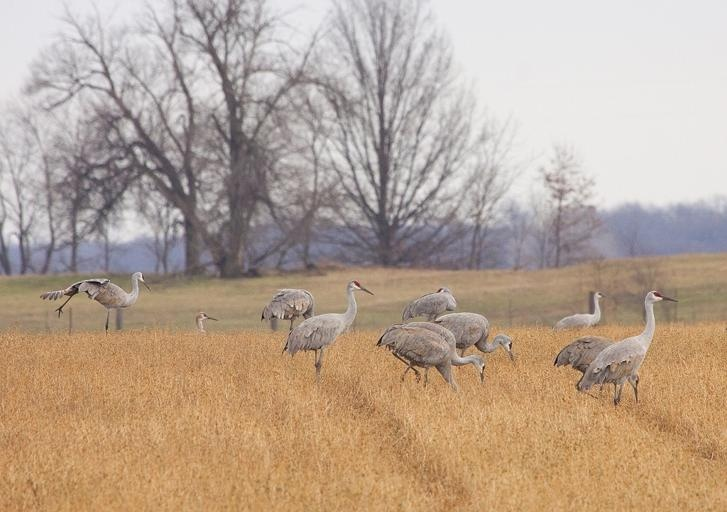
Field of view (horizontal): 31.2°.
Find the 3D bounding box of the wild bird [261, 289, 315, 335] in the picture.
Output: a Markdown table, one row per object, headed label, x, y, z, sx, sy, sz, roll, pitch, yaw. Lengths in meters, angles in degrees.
| label | x | y | z | sx | sy | sz | roll | pitch | yaw |
| --- | --- | --- | --- | --- | --- | --- | --- | --- | --- |
| wild bird | -2.506 | 2.005 | 42.080 | 1.333 | 1.759 | 1.133 | -4 | 7 | -37 |
